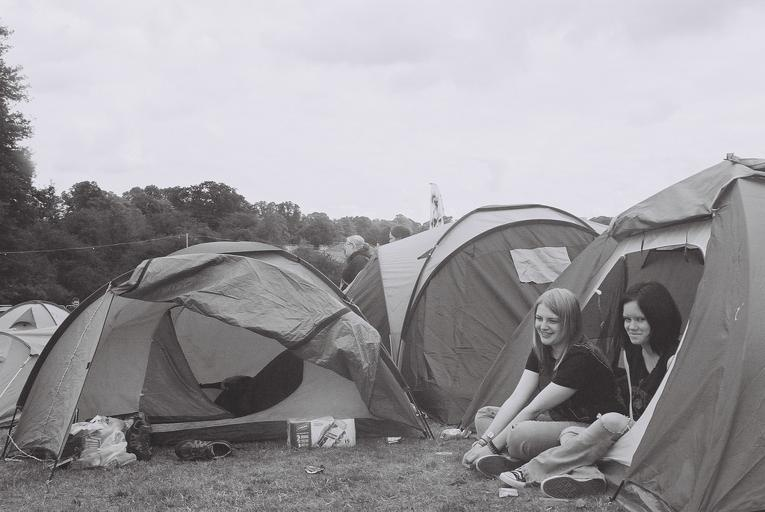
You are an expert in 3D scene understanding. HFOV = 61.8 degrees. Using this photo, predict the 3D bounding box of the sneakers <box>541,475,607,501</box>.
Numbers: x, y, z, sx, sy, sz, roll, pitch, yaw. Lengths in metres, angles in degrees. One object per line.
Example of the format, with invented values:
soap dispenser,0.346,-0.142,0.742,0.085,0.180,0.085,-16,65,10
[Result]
sneakers,1.570,1.887,5.250,0.562,0.180,0.218,2,-8,-7

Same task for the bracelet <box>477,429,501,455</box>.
bracelet,0.975,1.710,5.842,0.074,0.181,0.132,-5,-13,-41

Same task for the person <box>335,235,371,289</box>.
person,-0.506,0.106,13.497,0.654,0.998,1.205,-1,-6,-2

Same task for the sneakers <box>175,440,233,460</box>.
sneakers,-1.844,2.008,6.577,0.335,0.113,0.251,0,-7,2

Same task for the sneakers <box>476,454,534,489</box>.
sneakers,1.073,1.873,5.569,0.467,0.165,0.182,12,-21,15

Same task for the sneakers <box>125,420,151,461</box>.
sneakers,-2.530,1.929,6.645,0.250,0.368,0.152,10,-25,-40

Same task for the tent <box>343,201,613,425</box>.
tent,1.155,0.654,8.698,3.180,1.346,3.006,-1,-2,0
